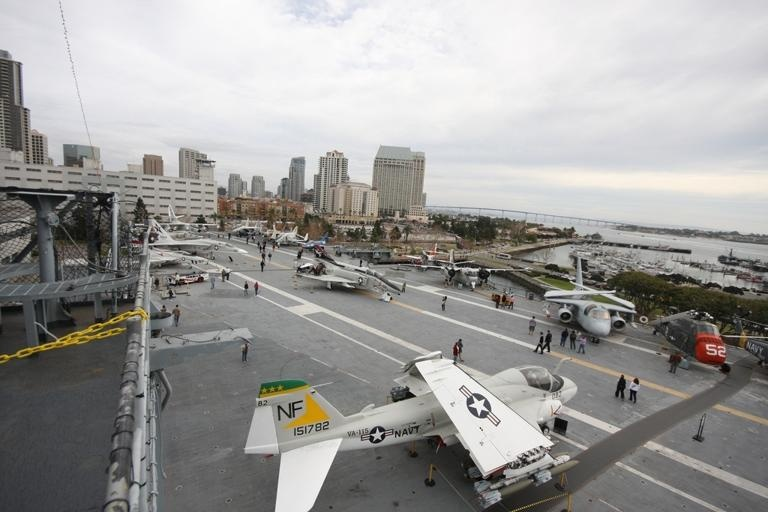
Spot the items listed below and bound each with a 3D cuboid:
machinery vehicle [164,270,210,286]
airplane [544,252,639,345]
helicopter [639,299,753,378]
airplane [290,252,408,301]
[{"bbox_3d":[-22.261,2.392,44.652,4.610,0.990,2.890,-5,12,-45],"label":"machinery vehicle"},{"bbox_3d":[19.769,5.306,38.772,7.971,5.629,10.714,3,3,4],"label":"airplane"},{"bbox_3d":[25.519,6.892,32.710,5.817,4.196,6.613,7,5,44],"label":"helicopter"},{"bbox_3d":[-4.250,1.964,46.516,12.866,3.894,4.140,9,10,34],"label":"airplane"}]
